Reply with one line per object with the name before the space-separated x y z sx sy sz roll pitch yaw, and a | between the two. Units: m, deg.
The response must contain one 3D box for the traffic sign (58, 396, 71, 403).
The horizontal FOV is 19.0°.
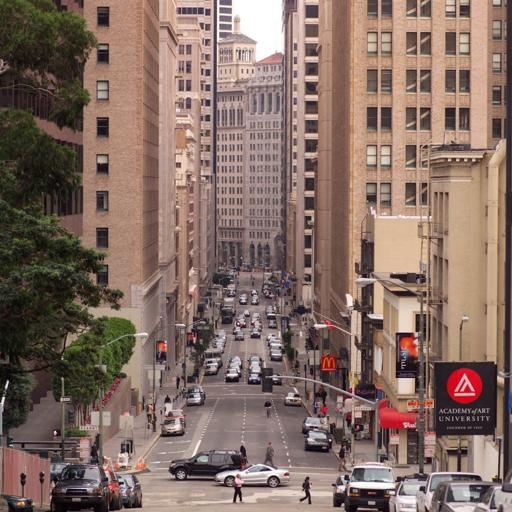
traffic sign | -11.047 8.282 89.091 0.492 0.430 2.564 1 -9 -10
